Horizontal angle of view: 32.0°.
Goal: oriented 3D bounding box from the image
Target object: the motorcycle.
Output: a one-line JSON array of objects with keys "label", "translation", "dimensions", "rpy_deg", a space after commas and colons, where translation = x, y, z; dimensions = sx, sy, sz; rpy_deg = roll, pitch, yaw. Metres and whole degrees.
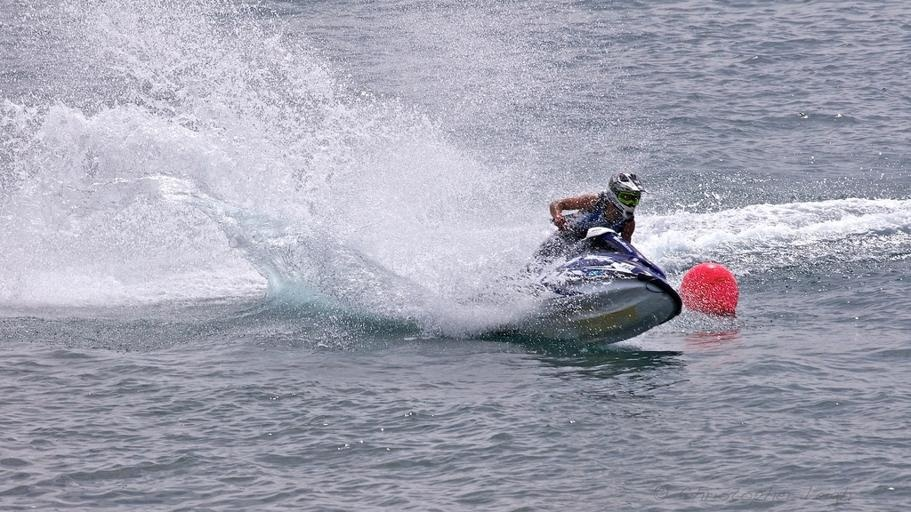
[{"label": "motorcycle", "translation": [2.749, 0.726, 30.308], "dimensions": [1.965, 3.824, 1.136], "rpy_deg": [23, 60, -32]}]
